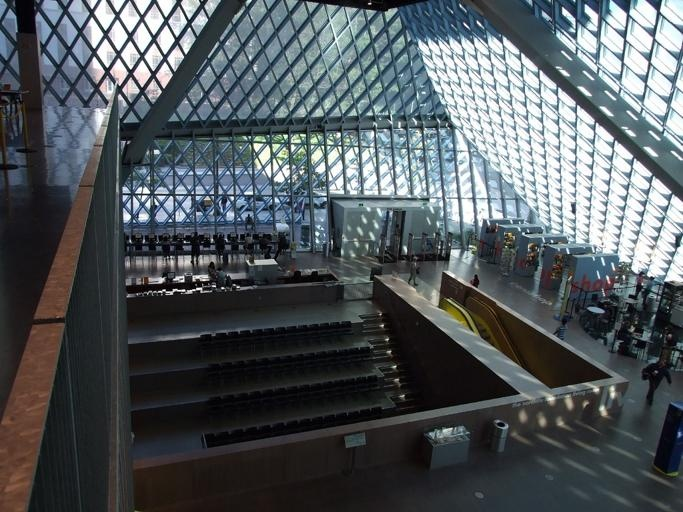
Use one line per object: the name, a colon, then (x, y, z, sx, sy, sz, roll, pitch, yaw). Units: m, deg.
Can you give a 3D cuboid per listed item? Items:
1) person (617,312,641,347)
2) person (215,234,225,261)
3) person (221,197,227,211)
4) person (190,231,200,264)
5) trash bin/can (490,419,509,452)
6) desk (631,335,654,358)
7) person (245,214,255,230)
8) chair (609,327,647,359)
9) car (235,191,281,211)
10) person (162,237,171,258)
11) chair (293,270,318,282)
person: (10.357, 2.739, 17.352, 0.920, 0.858, 0.484, -2, 5, -26)
person: (-6.552, -0.425, 25.715, 0.490, 1.348, 0.638, -2, 14, -16)
person: (-7.508, -3.296, 30.550, 0.383, 0.894, 0.382, -2, 14, -16)
person: (-7.636, -0.358, 24.914, 0.426, 1.342, 1.441, -2, 14, -17)
trash bin/can: (3.195, 3.668, 9.758, 0.304, 0.573, 0.339, 6, 14, 14)
desk: (10.099, 3.085, 16.201, 0.559, 0.654, 0.823, 8, 15, 24)
person: (-6.032, -2.076, 30.806, 0.790, 1.472, 0.789, -2, 8, -9)
chair: (9.841, 3.095, 16.460, 1.094, 1.025, 0.899, 3, 7, 8)
car: (-5.501, -3.459, 31.197, 2.414, 0.832, 1.232, -3, 15, -10)
person: (-9.373, -0.473, 25.480, 0.381, 1.046, 0.679, -3, 15, -21)
chair: (-1.485, 0.826, 19.361, 1.075, 0.446, 0.555, 2, 13, -4)
